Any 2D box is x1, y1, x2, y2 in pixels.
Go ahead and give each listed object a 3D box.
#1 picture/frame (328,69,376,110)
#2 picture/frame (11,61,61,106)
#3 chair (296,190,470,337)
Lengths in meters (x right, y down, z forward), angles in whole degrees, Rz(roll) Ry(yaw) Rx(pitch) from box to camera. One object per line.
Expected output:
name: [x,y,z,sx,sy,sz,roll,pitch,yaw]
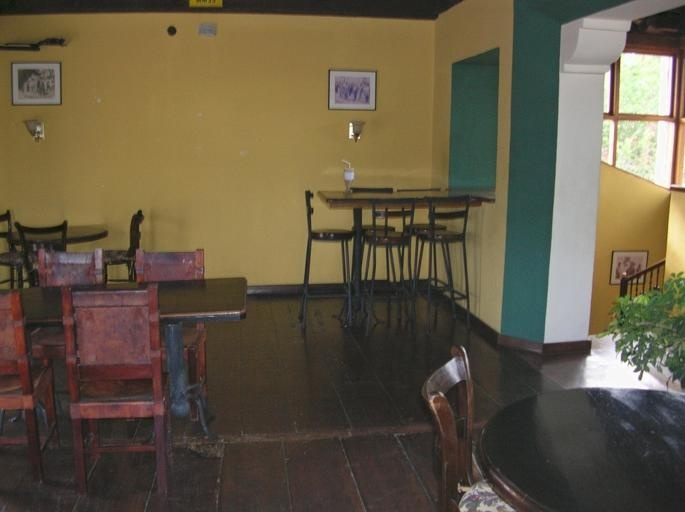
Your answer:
picture/frame: [0.087,-1.914,6.818,0.420,0.353,0.016,1,8,-11]
picture/frame: [-3.294,-1.885,6.458,0.424,0.414,0.032,0,2,-10]
chair: [0.042,-0.027,6.111,0.963,1.307,1.493,0,8,-3]
